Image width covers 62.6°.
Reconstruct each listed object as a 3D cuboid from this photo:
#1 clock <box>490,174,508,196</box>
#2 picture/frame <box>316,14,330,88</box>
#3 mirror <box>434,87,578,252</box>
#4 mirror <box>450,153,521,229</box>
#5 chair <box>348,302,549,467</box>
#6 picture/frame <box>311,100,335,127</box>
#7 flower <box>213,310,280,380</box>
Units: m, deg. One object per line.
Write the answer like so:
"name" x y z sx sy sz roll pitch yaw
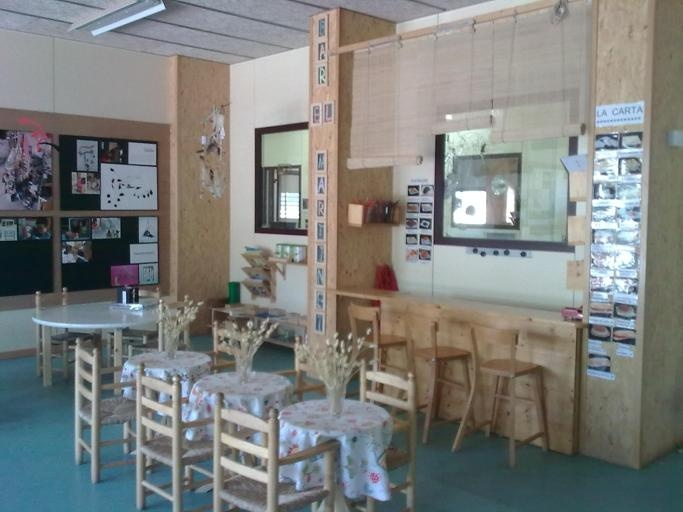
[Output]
"clock" 1.598 -0.719 5.675 0.163 0.183 0.044 6 5 42
"picture/frame" -0.210 -2.264 6.234 0.179 0.740 0.058 2 7 43
"mirror" 1.637 -0.850 5.410 1.499 1.463 0.102 4 5 40
"mirror" 1.512 -0.681 5.760 0.749 0.759 0.056 8 12 41
"chair" 0.986 1.089 4.745 0.378 0.730 1.144 -6 8 -35
"picture/frame" -0.191 -1.592 6.246 0.013 0.232 0.323 -5 9 -39
"flower" -0.702 0.704 4.099 0.354 0.393 0.374 2 -11 -17
